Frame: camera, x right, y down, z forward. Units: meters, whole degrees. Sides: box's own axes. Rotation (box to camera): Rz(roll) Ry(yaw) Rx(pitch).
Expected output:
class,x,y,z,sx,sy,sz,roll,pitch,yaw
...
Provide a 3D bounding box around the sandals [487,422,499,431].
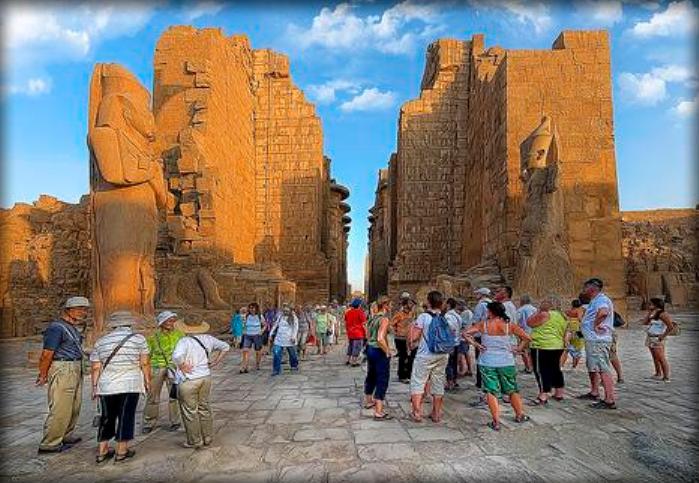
class,x,y,z,sx,sy,sz,roll,pitch,yaw
sandals,2.531,3.209,10.153,0.211,0.132,0.178,1,8,12

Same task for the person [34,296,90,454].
class,x,y,z,sx,sy,sz,roll,pitch,yaw
person,-4.812,2.208,9.743,0.890,2.527,0.422,-6,9,-33

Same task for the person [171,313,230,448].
class,x,y,z,sx,sy,sz,roll,pitch,yaw
person,-2.565,2.391,9.867,0.796,2.073,0.646,-4,8,-24

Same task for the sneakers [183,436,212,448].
class,x,y,z,sx,sy,sz,roll,pitch,yaw
sneakers,-2.505,3.386,9.722,0.479,0.212,0.166,5,-5,-5

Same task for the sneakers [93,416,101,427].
class,x,y,z,sx,sy,sz,roll,pitch,yaw
sneakers,-4.078,2.940,9.410,0.122,0.180,0.066,3,-4,34

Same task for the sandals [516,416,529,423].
class,x,y,z,sx,sy,sz,roll,pitch,yaw
sandals,3.084,3.160,10.323,0.226,0.077,0.120,-12,11,-21

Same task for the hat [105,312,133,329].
class,x,y,z,sx,sy,sz,roll,pitch,yaw
hat,-3.802,1.299,9.654,0.328,0.210,0.395,0,1,15

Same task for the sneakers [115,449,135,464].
class,x,y,z,sx,sy,sz,roll,pitch,yaw
sneakers,-3.643,3.509,9.438,0.329,0.132,0.117,-2,3,-45

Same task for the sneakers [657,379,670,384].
class,x,y,z,sx,sy,sz,roll,pitch,yaw
sneakers,6.599,2.957,12.236,0.248,0.101,0.086,2,-7,15

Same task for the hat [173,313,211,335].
class,x,y,z,sx,sy,sz,roll,pitch,yaw
hat,-2.609,1.487,9.962,0.403,0.125,0.418,28,22,30

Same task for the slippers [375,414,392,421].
class,x,y,z,sx,sy,sz,roll,pitch,yaw
slippers,0.612,3.187,10.522,0.250,0.094,0.117,0,-3,-5

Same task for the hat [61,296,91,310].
class,x,y,z,sx,sy,sz,roll,pitch,yaw
hat,-4.615,1.042,9.819,0.409,0.181,0.305,-4,-1,13

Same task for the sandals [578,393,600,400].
class,x,y,z,sx,sy,sz,roll,pitch,yaw
sandals,4.658,3.021,11.343,0.402,0.174,0.148,2,-10,25

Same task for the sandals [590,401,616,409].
class,x,y,z,sx,sy,sz,roll,pitch,yaw
sandals,4.713,3.051,10.860,0.448,0.184,0.182,0,-8,12

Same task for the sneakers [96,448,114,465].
class,x,y,z,sx,sy,sz,roll,pitch,yaw
sneakers,-3.969,3.515,9.455,0.138,0.135,0.332,4,5,6

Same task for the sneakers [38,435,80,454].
class,x,y,z,sx,sy,sz,roll,pitch,yaw
sneakers,-4.814,3.431,9.732,0.192,0.259,0.640,14,12,38

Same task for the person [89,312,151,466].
class,x,y,z,sx,sy,sz,roll,pitch,yaw
person,-3.739,2.373,9.552,0.910,2.358,0.603,-4,8,-21

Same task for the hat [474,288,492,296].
class,x,y,z,sx,sy,sz,roll,pitch,yaw
hat,2.829,1.074,12.310,0.183,0.110,0.270,0,-1,-37

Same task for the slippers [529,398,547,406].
class,x,y,z,sx,sy,sz,roll,pitch,yaw
slippers,3.568,3.076,11.082,0.372,0.106,0.150,2,-11,2
